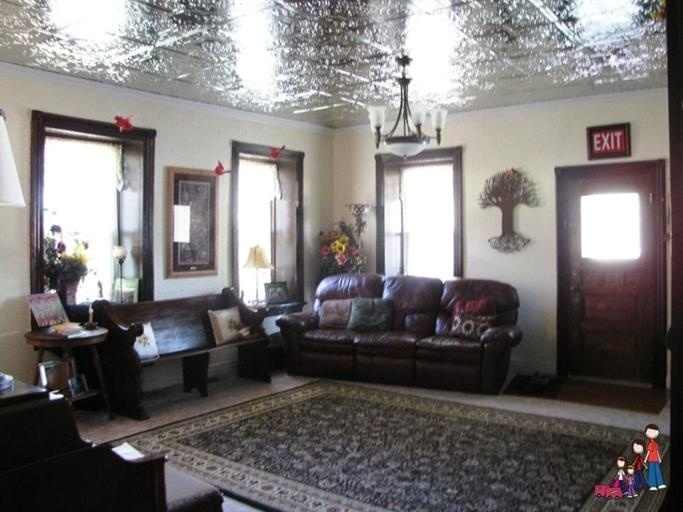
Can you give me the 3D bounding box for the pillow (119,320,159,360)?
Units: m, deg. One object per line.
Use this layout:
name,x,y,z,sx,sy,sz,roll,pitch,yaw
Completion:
pillow,-1.923,0.845,4.845,0.075,0.298,0.298,-10,0,25

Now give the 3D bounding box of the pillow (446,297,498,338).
pillow,1.476,0.687,5.622,0.498,0.384,0.496,0,6,16

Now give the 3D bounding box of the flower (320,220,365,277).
flower,0.003,-0.082,6.983,0.656,0.772,0.547,0,5,6

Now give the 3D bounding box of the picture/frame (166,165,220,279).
picture/frame,-1.697,-0.382,5.703,0.169,1.232,0.729,3,7,38

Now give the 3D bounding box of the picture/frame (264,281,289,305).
picture/frame,-0.859,0.490,6.518,0.277,0.264,0.028,1,-8,-37

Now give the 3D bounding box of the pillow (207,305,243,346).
pillow,-1.273,0.767,5.529,0.106,0.362,0.361,-15,-6,35
